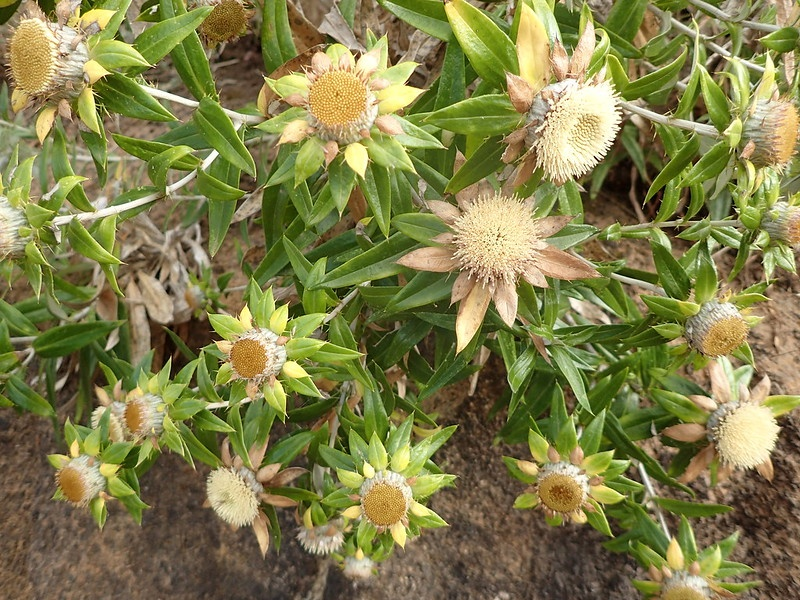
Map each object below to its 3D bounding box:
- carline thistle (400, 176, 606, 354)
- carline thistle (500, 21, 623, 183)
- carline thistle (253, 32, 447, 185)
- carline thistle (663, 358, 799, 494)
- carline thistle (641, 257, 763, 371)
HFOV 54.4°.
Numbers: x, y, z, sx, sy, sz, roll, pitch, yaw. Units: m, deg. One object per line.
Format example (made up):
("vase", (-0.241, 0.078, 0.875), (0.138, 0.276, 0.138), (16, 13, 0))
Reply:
("carline thistle", (0.268, -0.206, 2.437), (0.472, 0.213, 0.577), (-37, 98, 1))
("carline thistle", (0.472, -0.614, 2.400), (0.387, 0.430, 0.241), (35, 41, 16))
("carline thistle", (-0.158, -0.578, 2.434), (0.559, 0.232, 0.426), (3, 63, -7))
("carline thistle", (1.173, 0.418, 2.768), (0.383, 0.216, 0.521), (1, 79, 25))
("carline thistle", (1.070, 0.024, 2.779), (0.323, 0.180, 0.403), (30, 99, 1))
